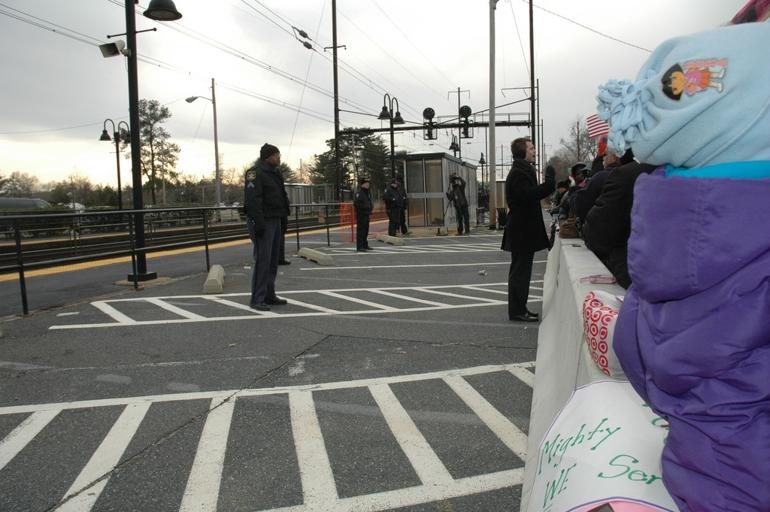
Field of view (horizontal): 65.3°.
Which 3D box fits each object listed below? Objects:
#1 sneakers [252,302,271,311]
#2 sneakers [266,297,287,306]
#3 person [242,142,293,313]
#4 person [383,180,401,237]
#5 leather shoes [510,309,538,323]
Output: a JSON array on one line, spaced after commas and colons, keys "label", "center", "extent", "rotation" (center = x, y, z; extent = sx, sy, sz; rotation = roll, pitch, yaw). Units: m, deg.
[{"label": "sneakers", "center": [-1.698, 0.695, 8.291], "extent": [0.263, 0.120, 0.109], "rotation": [0, 6, 13]}, {"label": "sneakers", "center": [-1.539, 0.663, 8.586], "extent": [0.299, 0.137, 0.106], "rotation": [-2, 8, -4]}, {"label": "person", "center": [-1.654, -0.397, 8.344], "extent": [0.395, 2.263, 0.738], "rotation": [2, 8, 17]}, {"label": "person", "center": [0.243, -1.550, 20.083], "extent": [0.553, 1.857, 0.969], "rotation": [1, 8, 15]}, {"label": "leather shoes", "center": [1.720, 0.758, 7.408], "extent": [0.396, 0.167, 0.140], "rotation": [-7, 9, 4]}]
